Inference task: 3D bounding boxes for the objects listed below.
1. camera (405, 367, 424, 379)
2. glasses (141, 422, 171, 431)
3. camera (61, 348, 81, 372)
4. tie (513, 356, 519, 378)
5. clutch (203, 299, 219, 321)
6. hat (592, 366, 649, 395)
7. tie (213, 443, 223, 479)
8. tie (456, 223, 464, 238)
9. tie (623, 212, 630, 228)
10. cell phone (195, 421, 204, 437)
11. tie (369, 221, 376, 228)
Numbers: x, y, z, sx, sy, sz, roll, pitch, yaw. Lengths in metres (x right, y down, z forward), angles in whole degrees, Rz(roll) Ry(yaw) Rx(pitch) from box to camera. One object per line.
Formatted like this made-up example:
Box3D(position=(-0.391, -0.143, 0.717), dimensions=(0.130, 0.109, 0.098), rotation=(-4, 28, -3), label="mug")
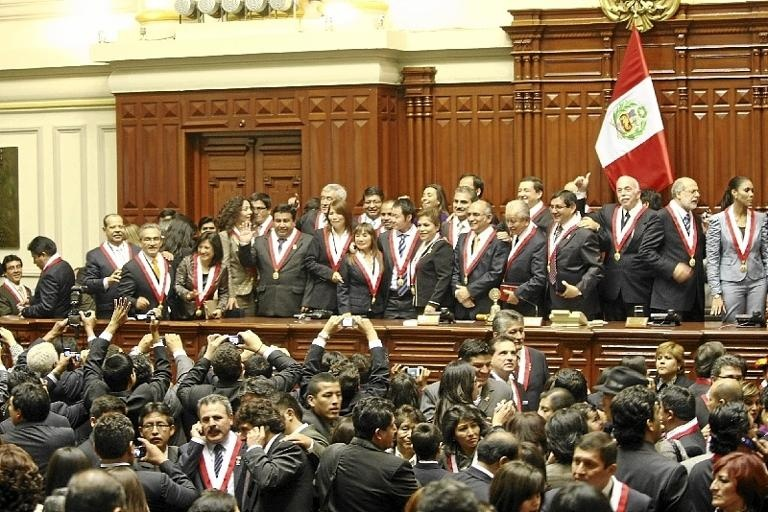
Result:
Box3D(position=(0.242, 1.013, 8.693), dimensions=(0.097, 0.100, 0.143), rotation=(-1, -1, 13), label="camera")
Box3D(position=(-1.755, 1.303, 7.660), dimensions=(0.198, 0.059, 0.054), rotation=(-2, -1, -20), label="glasses")
Box3D(position=(-2.910, 0.973, 9.304), dimensions=(0.254, 0.273, 0.147), rotation=(0, 0, 31), label="camera")
Box3D(position=(1.272, 1.056, 9.564), dimensions=(0.055, 0.214, 0.187), rotation=(-2, -1, 7), label="tie")
Box3D(position=(-2.088, 0.646, 11.975), dimensions=(0.064, 0.158, 0.207), rotation=(-17, 5, 24), label="clutch")
Box3D(position=(1.911, 0.988, 7.970), dimensions=(0.268, 0.112, 0.250), rotation=(8, 3, 24), label="hat")
Box3D(position=(-1.249, 1.541, 7.536), dimensions=(0.073, 0.228, 0.061), rotation=(-1, -1, -12), label="tie")
Box3D(position=(0.918, -0.319, 11.954), dimensions=(0.049, 0.142, 0.127), rotation=(19, 7, -29), label="tie")
Box3D(position=(2.835, -0.453, 11.575), dimensions=(0.007, 0.148, 0.043), rotation=(27, -23, -23), label="tie")
Box3D(position=(-1.420, 1.319, 7.573), dimensions=(0.088, 0.096, 0.042), rotation=(-10, -39, 37), label="cell phone")
Box3D(position=(-0.140, -0.422, 12.645), dimensions=(0.063, 0.056, 0.054), rotation=(-10, 16, -15), label="tie")
